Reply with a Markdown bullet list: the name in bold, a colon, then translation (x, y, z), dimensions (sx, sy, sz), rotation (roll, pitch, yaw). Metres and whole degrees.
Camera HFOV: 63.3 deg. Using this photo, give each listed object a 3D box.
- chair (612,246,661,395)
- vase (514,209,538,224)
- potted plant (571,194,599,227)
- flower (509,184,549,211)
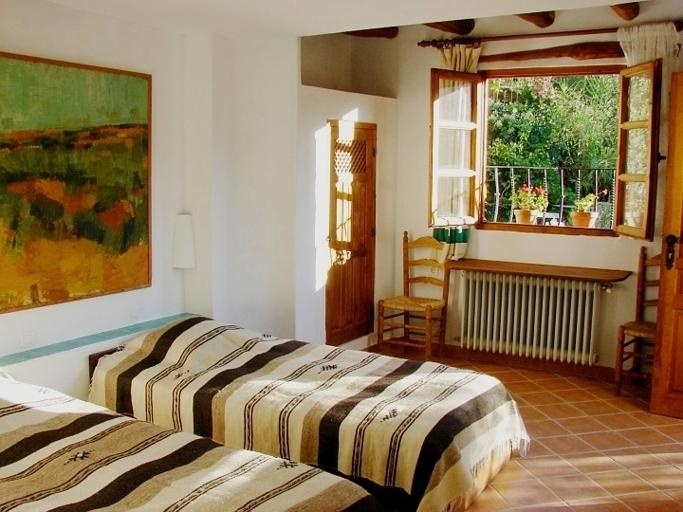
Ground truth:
- **chair**: translation (2.550, 0.541, 4.729), dimensions (0.284, 1.215, 0.552), rotation (7, 12, 29)
- **vase**: translation (1.921, -0.423, 5.783), dimensions (0.208, 0.132, 0.203), rotation (6, 10, 31)
- **potted plant**: translation (2.423, -0.461, 5.568), dimensions (0.233, 0.357, 0.232), rotation (-3, 2, -44)
- **flower**: translation (2.133, -0.664, 6.285), dimensions (0.375, 0.245, 0.383), rotation (7, 15, 27)
